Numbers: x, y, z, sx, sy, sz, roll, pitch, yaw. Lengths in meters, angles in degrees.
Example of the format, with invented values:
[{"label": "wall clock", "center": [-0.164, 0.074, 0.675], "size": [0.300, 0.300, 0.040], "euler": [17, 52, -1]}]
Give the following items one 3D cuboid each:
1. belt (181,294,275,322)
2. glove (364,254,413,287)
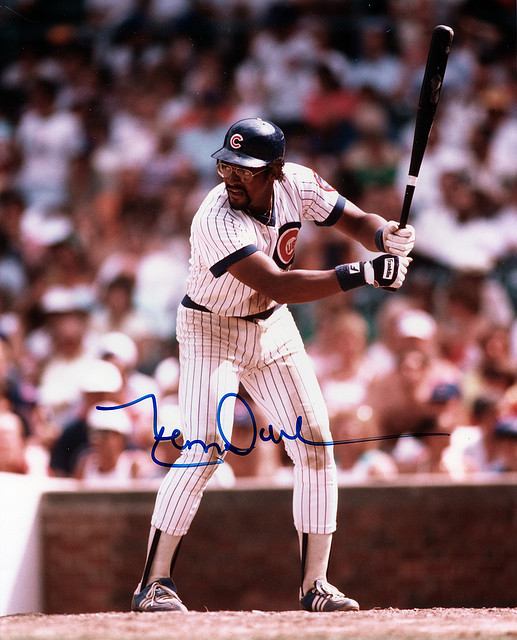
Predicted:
[{"label": "belt", "center": [-0.117, -0.032, 3.564], "size": [0.207, 0.138, 0.036], "euler": [12, 87, -5]}, {"label": "glove", "center": [0.424, -0.174, 3.367], "size": [0.143, 0.102, 0.165], "euler": [10, 58, 5]}]
